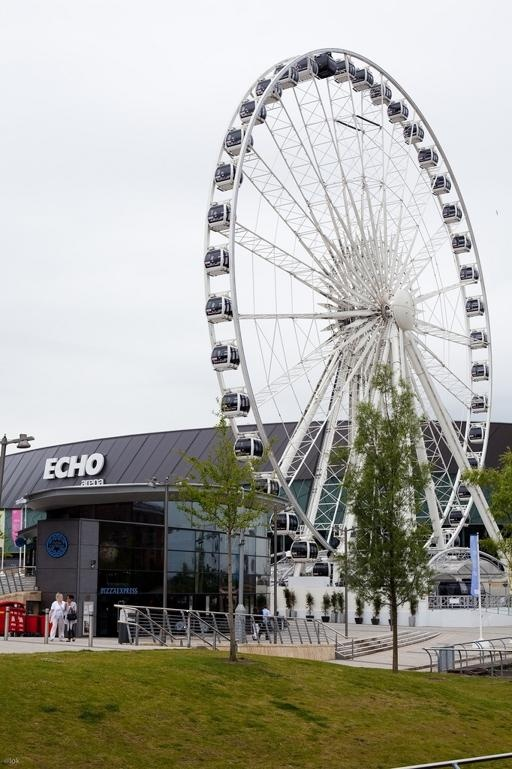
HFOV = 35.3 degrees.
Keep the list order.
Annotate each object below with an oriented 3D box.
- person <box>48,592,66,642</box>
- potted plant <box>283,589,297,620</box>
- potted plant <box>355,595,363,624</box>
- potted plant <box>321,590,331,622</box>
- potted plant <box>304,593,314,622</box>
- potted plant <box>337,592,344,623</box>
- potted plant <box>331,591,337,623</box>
[{"bbox_3d":[-6.091,7.107,24.705,0.410,1.349,1.434,0,-15,-13],"label":"person"},{"bbox_3d":[2.248,14.373,53.486,0.798,1.747,1.266,-3,-14,1],"label":"potted plant"},{"bbox_3d":[6.345,14.039,49.351,0.594,1.111,2.241,-4,-14,6],"label":"potted plant"},{"bbox_3d":[4.489,14.237,51.652,0.673,1.688,1.759,-4,-14,4],"label":"potted plant"},{"bbox_3d":[3.503,14.332,52.605,0.511,1.412,1.110,-4,-14,2],"label":"potted plant"},{"bbox_3d":[5.366,14.086,51.115,0.444,1.686,1.003,-4,-14,4],"label":"potted plant"},{"bbox_3d":[4.997,14.142,51.404,0.390,1.733,0.971,-4,-14,3],"label":"potted plant"}]
